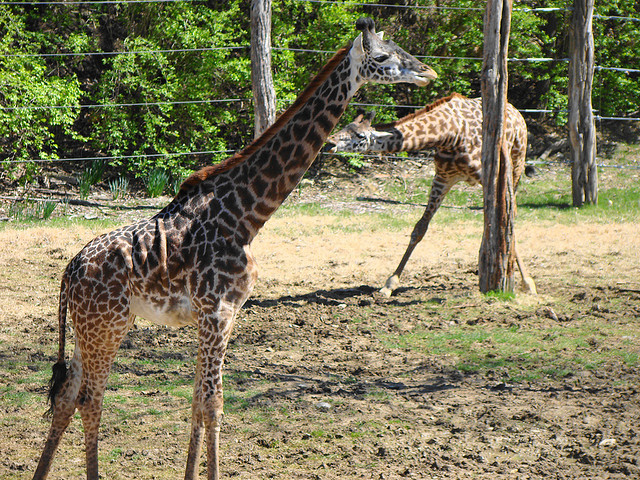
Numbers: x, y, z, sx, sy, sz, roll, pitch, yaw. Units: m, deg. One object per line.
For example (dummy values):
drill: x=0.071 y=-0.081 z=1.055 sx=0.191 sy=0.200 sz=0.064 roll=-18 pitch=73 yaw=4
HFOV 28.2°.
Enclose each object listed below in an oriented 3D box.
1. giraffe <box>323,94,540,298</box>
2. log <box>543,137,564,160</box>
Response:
giraffe: x=2.070 y=-0.802 z=22.160 sx=1.573 sy=3.559 sz=5.532 roll=15 pitch=-3 yaw=-42
log: x=5.337 y=-2.125 z=29.242 sx=0.240 sy=0.474 sz=1.126 roll=-1 pitch=6 yaw=-4
